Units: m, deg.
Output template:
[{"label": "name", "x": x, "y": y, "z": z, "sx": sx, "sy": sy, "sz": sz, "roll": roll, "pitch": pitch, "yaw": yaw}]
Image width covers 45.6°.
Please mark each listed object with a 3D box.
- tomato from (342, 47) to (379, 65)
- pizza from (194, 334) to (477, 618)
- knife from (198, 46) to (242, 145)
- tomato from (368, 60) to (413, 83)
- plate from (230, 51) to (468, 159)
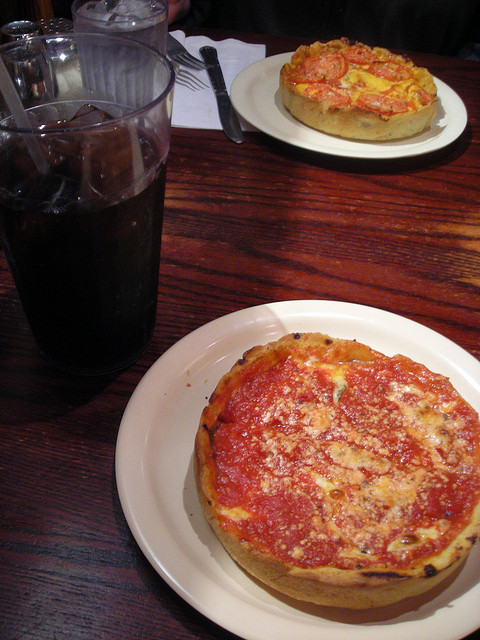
[{"label": "tomato", "x": 0.310, "y": -0.684, "z": 1.468, "sx": 0.067, "sy": 0.018, "sz": 0.066, "roll": -3, "pitch": 45, "yaw": -9}, {"label": "pizza", "x": 0.095, "y": 0.125, "z": 0.543, "sx": 0.262, "sy": 0.046, "sz": 0.269, "roll": 4, "pitch": 46, "yaw": 4}, {"label": "knife", "x": -0.056, "y": -0.512, "z": 1.226, "sx": 0.056, "sy": 0.041, "sz": 0.501, "roll": -4, "pitch": 43, "yaw": -9}, {"label": "tomato", "x": 0.369, "y": -0.618, "z": 1.405, "sx": 0.106, "sy": 0.020, "sz": 0.065, "roll": 23, "pitch": 55, "yaw": 26}, {"label": "plate", "x": 0.218, "y": -0.469, "z": 1.227, "sx": 0.512, "sy": 0.038, "sz": 0.454, "roll": 20, "pitch": 49, "yaw": 18}]
